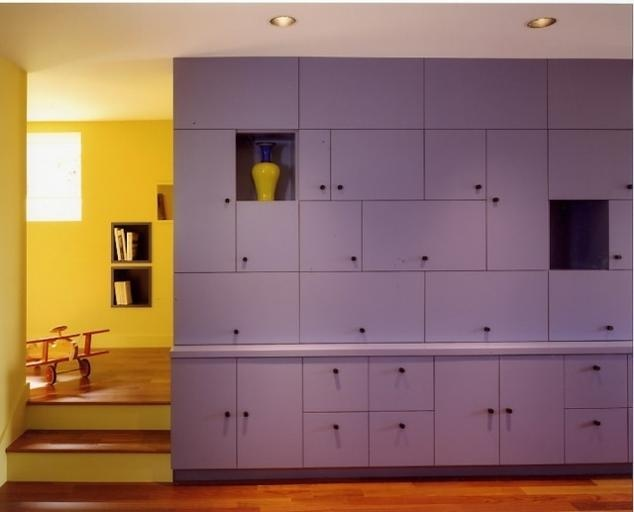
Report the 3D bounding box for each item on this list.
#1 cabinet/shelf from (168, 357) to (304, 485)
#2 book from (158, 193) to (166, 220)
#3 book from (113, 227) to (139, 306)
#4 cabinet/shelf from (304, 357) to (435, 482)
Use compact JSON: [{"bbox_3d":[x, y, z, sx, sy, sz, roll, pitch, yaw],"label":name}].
[{"bbox_3d":[-0.635,1.254,5.623,0.958,0.808,0.373,0,-4,-2],"label":"cabinet/shelf"},{"bbox_3d":[-1.660,-0.521,7.660,0.102,0.228,0.035,1,0,-24],"label":"book"},{"bbox_3d":[-2.037,0.116,7.588,0.211,0.655,0.188,1,0,-4],"label":"book"},{"bbox_3d":[0.403,1.231,5.640,0.957,0.795,0.375,0,1,0],"label":"cabinet/shelf"}]
